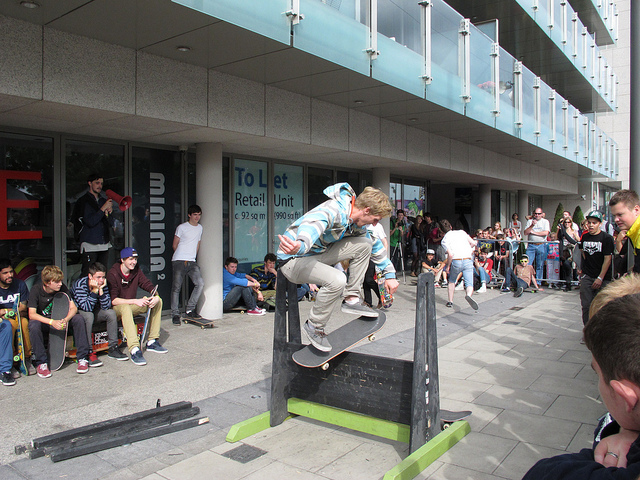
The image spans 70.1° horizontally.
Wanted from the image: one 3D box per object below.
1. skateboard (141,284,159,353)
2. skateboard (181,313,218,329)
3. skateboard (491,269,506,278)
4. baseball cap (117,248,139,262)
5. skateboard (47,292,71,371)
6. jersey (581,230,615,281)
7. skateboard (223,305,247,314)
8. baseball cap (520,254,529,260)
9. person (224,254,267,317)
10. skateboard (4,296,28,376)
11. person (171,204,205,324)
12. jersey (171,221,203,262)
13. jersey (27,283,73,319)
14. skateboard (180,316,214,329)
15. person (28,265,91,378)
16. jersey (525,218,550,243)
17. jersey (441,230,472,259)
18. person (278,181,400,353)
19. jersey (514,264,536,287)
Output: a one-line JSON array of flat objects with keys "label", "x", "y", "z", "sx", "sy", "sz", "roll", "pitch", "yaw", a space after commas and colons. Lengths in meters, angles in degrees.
[{"label": "skateboard", "x": -2.730, "y": 1.263, "z": 7.181, "sx": 0.081, "sy": 1.134, "sz": 0.154, "roll": 16, "pitch": -5, "yaw": -19}, {"label": "skateboard", "x": -2.426, "y": 1.650, "z": 9.219, "sx": 0.348, "sy": 0.136, "sz": 0.735, "roll": -2, "pitch": 4, "yaw": -43}, {"label": "skateboard", "x": 5.679, "y": 1.091, "z": 14.610, "sx": 0.292, "sy": 0.075, "sz": 0.311, "roll": 28, "pitch": 9, "yaw": -23}, {"label": "baseball cap", "x": -3.093, "y": 0.234, "z": 7.369, "sx": 0.357, "sy": 0.177, "sz": 0.222, "roll": -7, "pitch": 11, "yaw": -35}, {"label": "skateboard", "x": -3.659, "y": 1.287, "z": 6.464, "sx": 0.271, "sy": 1.154, "sz": 0.171, "roll": 2, "pitch": -1, "yaw": 15}, {"label": "jersey", "x": 4.638, "y": 0.232, "z": 7.722, "sx": 0.355, "sy": 0.817, "sz": 0.608, "roll": -10, "pitch": 12, "yaw": -33}, {"label": "skateboard", "x": -1.844, "y": 1.566, "z": 10.401, "sx": 0.343, "sy": 0.178, "sz": 0.263, "roll": 1, "pitch": 3, "yaw": 18}, {"label": "baseball cap", "x": 6.368, "y": 0.535, "z": 14.192, "sx": 0.165, "sy": 0.127, "sz": 0.162, "roll": -2, "pitch": 3, "yaw": -44}, {"label": "person", "x": -1.758, "y": 1.141, "z": 10.709, "sx": 1.275, "sy": 1.407, "sz": 0.927, "roll": 1, "pitch": 2, "yaw": 2}, {"label": "skateboard", "x": -4.068, "y": 1.332, "z": 6.229, "sx": 0.252, "sy": 0.962, "sz": 0.144, "roll": 2, "pitch": 9, "yaw": 31}, {"label": "person", "x": -2.717, "y": 0.485, "z": 9.359, "sx": 0.661, "sy": 2.414, "sz": 0.467, "roll": 0, "pitch": 3, "yaw": -16}, {"label": "jersey", "x": -2.701, "y": 0.044, "z": 9.339, "sx": 0.597, "sy": 0.804, "sz": 0.253, "roll": -1, "pitch": 3, "yaw": -21}, {"label": "jersey", "x": -3.797, "y": 0.870, "z": 6.404, "sx": 0.379, "sy": 0.363, "sz": 0.201, "roll": 17, "pitch": -15, "yaw": -16}, {"label": "skateboard", "x": -2.454, "y": 1.645, "z": 9.245, "sx": 0.824, "sy": 0.130, "sz": 0.281, "roll": 3, "pitch": 4, "yaw": 43}, {"label": "person", "x": -3.687, "y": 1.118, "z": 6.455, "sx": 0.768, "sy": 1.488, "sz": 0.608, "roll": -1, "pitch": 3, "yaw": -28}, {"label": "jersey", "x": 6.859, "y": -0.333, "z": 14.331, "sx": 0.606, "sy": 0.711, "sz": 0.906, "roll": 2, "pitch": 3, "yaw": 27}, {"label": "jersey", "x": 3.288, "y": 0.113, "z": 11.037, "sx": 0.677, "sy": 0.682, "sz": 0.385, "roll": -12, "pitch": -10, "yaw": 8}, {"label": "person", "x": 0.121, "y": 0.264, "z": 4.230, "sx": 1.400, "sy": 1.570, "sz": 0.693, "roll": -2, "pitch": 4, "yaw": -35}, {"label": "jersey", "x": 6.160, "y": 1.092, "z": 13.764, "sx": 0.633, "sy": 0.615, "sz": 0.360, "roll": 1, "pitch": -8, "yaw": 38}]
